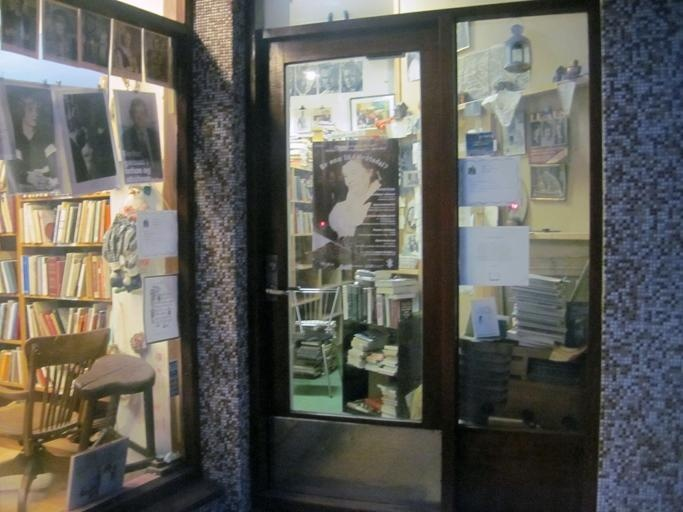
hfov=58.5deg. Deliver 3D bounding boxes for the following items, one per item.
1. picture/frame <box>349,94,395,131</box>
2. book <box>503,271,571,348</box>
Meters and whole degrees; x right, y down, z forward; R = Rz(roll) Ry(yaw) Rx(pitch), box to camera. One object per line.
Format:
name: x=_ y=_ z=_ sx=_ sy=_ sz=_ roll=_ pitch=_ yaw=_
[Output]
picture/frame: x=0.164 y=-0.733 z=3.088 sx=0.203 sy=0.143 sz=0.008 roll=2 pitch=9 yaw=16
book: x=0.958 y=0.248 z=2.957 sx=0.332 sy=0.368 sz=0.315 roll=0 pitch=2 yaw=23
